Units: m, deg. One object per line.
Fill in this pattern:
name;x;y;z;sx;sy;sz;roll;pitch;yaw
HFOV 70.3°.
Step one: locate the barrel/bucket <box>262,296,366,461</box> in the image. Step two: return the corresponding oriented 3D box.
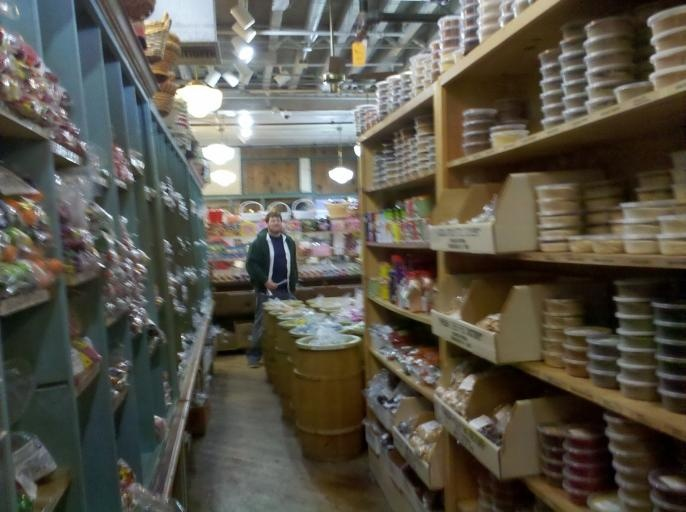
barrel/bucket;-0.241;0.978;3.968;0.512;0.934;1.313;-2;3;-20
